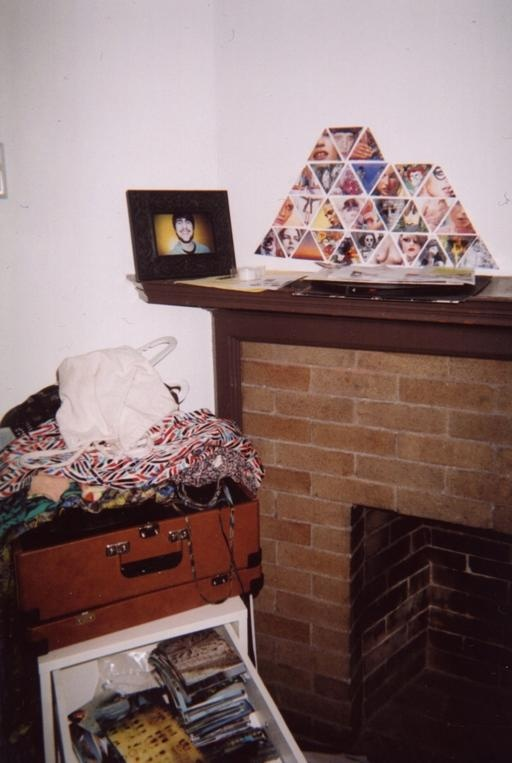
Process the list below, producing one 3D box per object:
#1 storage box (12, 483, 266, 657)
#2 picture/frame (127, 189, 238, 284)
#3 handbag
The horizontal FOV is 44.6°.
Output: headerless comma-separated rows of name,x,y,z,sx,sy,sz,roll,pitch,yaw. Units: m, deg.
storage box,-0.257,0.321,1.273,0.465,0.215,0.348,-9,20,-28
picture/frame,-0.157,-0.303,1.295,0.200,0.164,0.020,-15,11,-23
handbag,-0.257,0.029,1.215,0.237,0.173,0.084,-17,-20,-14
